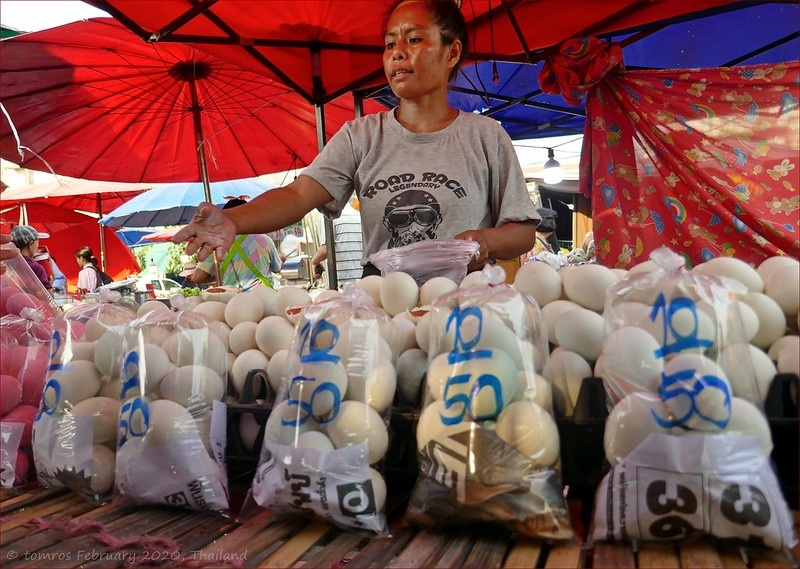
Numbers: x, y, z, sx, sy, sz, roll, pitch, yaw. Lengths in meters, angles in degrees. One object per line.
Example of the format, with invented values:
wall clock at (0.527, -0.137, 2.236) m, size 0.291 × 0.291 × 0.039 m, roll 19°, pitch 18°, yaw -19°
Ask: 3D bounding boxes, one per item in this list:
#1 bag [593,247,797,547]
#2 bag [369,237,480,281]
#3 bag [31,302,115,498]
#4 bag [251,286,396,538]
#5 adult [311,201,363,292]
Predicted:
bag at (0.558, 0.210, 1.025) m, size 0.339 × 0.527 × 0.240 m, roll 0°, pitch 9°, yaw 19°
bag at (0.100, -0.084, 1.749) m, size 0.212 × 0.080 × 0.177 m, roll -7°, pitch 13°, yaw -13°
bag at (-0.774, 0.298, 1.380) m, size 0.217 × 0.460 × 0.211 m, roll -6°, pitch -18°, yaw 13°
bag at (-0.146, 0.267, 1.148) m, size 0.293 × 0.446 × 0.175 m, roll 15°, pitch -16°, yaw -11°
adult at (-0.754, -0.502, 5.881) m, size 0.419 × 0.444 × 1.444 m, roll -26°, pitch 3°, yaw -4°
